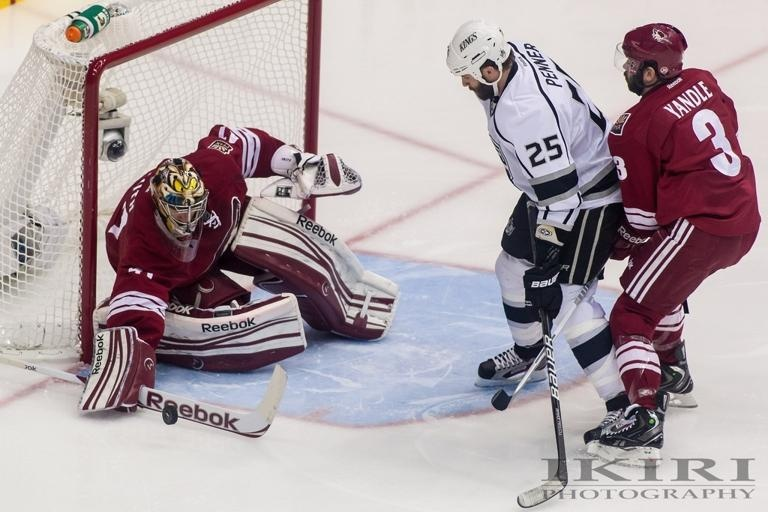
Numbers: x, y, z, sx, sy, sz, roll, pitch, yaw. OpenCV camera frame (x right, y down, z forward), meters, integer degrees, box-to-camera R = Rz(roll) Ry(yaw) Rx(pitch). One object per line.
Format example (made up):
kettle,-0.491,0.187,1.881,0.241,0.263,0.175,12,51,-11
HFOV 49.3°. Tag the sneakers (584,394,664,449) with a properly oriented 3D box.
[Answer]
sneakers,1.015,0.708,3.583,0.429,0.238,0.145,-1,1,30

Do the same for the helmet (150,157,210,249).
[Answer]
helmet,-0.948,-0.282,3.910,0.274,0.292,0.362,-4,31,-21

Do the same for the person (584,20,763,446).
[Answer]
person,1.192,-0.035,3.617,0.733,1.749,0.736,13,-12,5

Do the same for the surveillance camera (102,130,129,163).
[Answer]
surveillance camera,-1.267,-0.511,3.932,0.127,0.120,0.136,-1,4,-27

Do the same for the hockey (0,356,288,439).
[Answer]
hockey,-0.961,0.574,3.723,1.254,0.327,0.249,6,-14,23

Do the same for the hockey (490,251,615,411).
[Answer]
hockey,0.767,0.356,3.788,0.452,0.445,0.546,24,-34,24

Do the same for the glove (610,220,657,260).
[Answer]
glove,1.095,-0.077,3.646,0.139,0.109,0.075,-27,16,29

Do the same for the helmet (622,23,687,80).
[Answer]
helmet,1.147,-0.874,3.550,0.285,0.212,0.214,3,28,1

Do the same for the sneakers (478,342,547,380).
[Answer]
sneakers,0.631,0.515,4.051,0.400,0.107,0.176,-6,-36,-21

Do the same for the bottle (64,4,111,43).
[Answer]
bottle,-1.329,-1.069,3.859,0.126,0.105,0.247,17,32,17

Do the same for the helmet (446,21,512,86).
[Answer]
helmet,0.442,-0.872,3.610,0.313,0.235,0.279,1,-55,12
